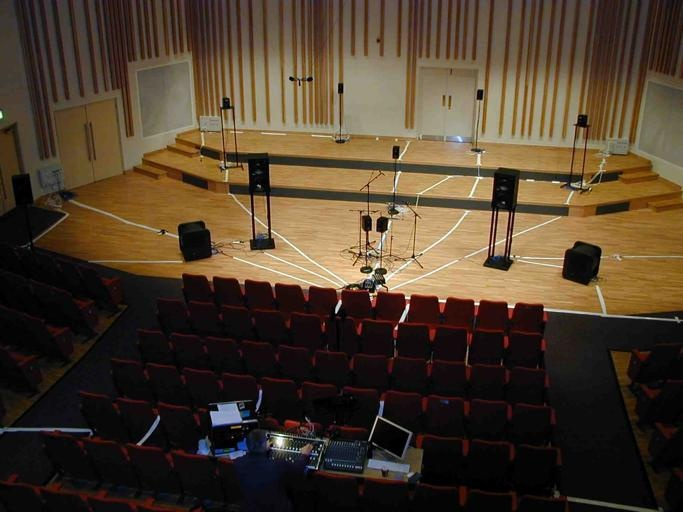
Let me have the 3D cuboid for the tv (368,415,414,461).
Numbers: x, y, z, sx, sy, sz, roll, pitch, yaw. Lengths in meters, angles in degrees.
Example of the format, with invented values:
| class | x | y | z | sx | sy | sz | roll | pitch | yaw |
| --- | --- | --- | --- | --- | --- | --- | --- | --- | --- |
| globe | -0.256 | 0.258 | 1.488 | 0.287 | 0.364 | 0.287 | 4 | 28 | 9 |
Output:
| class | x | y | z | sx | sy | sz | roll | pitch | yaw |
| --- | --- | --- | --- | --- | --- | --- | --- | --- | --- |
| tv | 0.458 | 1.695 | 4.723 | 0.338 | 0.225 | 0.046 | 18 | -14 | 24 |

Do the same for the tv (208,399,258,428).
| class | x | y | z | sx | sy | sz | roll | pitch | yaw |
| --- | --- | --- | --- | --- | --- | --- | --- | --- | --- |
| tv | -1.009 | 1.480 | 4.768 | 0.458 | 0.276 | 0.243 | 14 | -26 | -8 |

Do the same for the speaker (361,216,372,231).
| class | x | y | z | sx | sy | sz | roll | pitch | yaw |
| --- | --- | --- | --- | --- | --- | --- | --- | --- | --- |
| speaker | 0.461 | -0.592 | 9.363 | 0.157 | 0.274 | 0.269 | -3 | 17 | -9 |

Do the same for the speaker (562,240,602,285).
| class | x | y | z | sx | sy | sz | roll | pitch | yaw |
| --- | --- | --- | --- | --- | --- | --- | --- | --- | --- |
| speaker | 4.271 | 0.128 | 9.094 | 0.644 | 0.571 | 0.532 | 11 | -60 | 24 |

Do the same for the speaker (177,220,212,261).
| class | x | y | z | sx | sy | sz | roll | pitch | yaw |
| --- | --- | --- | --- | --- | --- | --- | --- | --- | --- |
| speaker | -2.835 | -0.260 | 9.963 | 0.726 | 0.656 | 0.575 | -7 | 7 | -18 |

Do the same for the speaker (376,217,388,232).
| class | x | y | z | sx | sy | sz | roll | pitch | yaw |
| --- | --- | --- | --- | --- | --- | --- | --- | --- | --- |
| speaker | 0.758 | -0.575 | 9.468 | 0.143 | 0.260 | 0.218 | 13 | -55 | 22 |

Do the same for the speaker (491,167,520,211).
| class | x | y | z | sx | sy | sz | roll | pitch | yaw |
| --- | --- | --- | --- | --- | --- | --- | --- | --- | --- |
| speaker | 2.937 | -1.171 | 9.058 | 0.377 | 0.362 | 0.629 | 15 | -63 | 34 |
